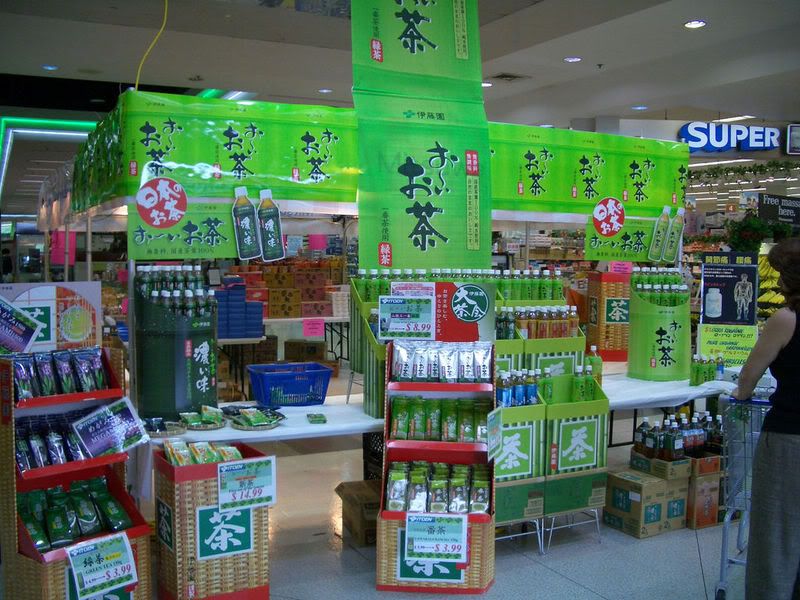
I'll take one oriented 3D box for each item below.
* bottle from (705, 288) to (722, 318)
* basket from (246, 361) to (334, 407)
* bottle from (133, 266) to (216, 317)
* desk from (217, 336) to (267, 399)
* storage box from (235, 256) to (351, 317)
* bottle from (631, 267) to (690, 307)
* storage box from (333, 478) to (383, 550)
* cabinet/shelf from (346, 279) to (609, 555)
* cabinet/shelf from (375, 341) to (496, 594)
[{"bbox_3d":[2.960,0.045,6.038,0.155,0.277,0.050,1,6,14],"label":"bottle"},{"bbox_3d":[-0.848,0.658,4.976,0.496,0.233,0.354,-1,1,-20],"label":"basket"},{"bbox_3d":[-1.562,-0.060,4.483,0.385,0.425,0.438,1,-3,-13],"label":"bottle"},{"bbox_3d":[-2.438,1.030,10.233,0.883,0.652,0.874,-15,6,-4],"label":"desk"},{"bbox_3d":[-1.743,-0.183,10.512,1.486,0.822,2.295,1,7,4],"label":"storage box"},{"bbox_3d":[2.422,-0.116,5.998,0.494,0.333,0.449,2,7,19],"label":"bottle"},{"bbox_3d":[-0.249,1.700,5.208,0.469,0.414,0.570,1,0,-17],"label":"storage box"},{"bbox_3d":[0.564,0.911,4.739,2.006,1.954,1.057,-1,1,-28],"label":"cabinet/shelf"},{"bbox_3d":[0.252,1.140,4.397,0.794,1.610,0.470,1,6,6],"label":"cabinet/shelf"}]
